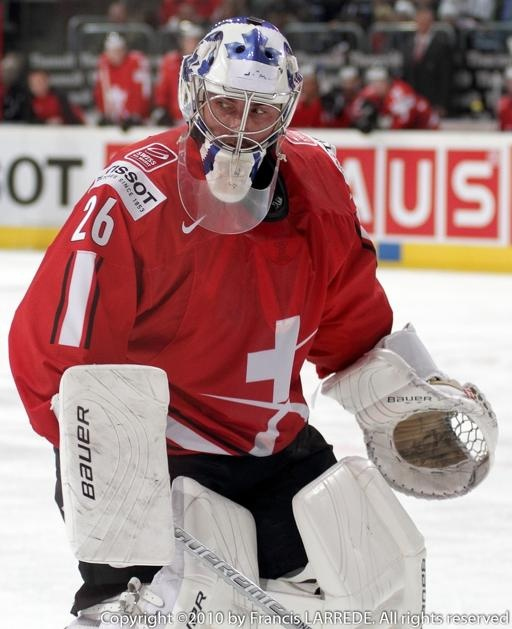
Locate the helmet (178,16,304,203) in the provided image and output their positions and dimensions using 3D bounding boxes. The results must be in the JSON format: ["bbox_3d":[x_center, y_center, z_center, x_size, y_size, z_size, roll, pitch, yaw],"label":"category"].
[{"bbox_3d":[-0.029,-0.349,1.500,0.215,0.309,0.169,-1,14,1],"label":"helmet"}]
